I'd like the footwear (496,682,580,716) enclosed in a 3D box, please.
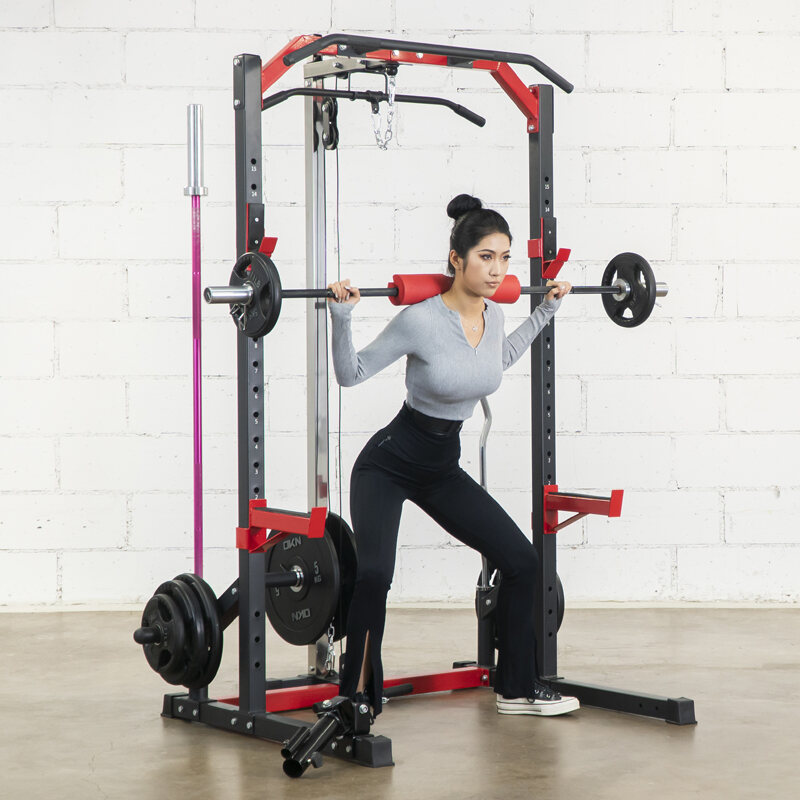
[{"bbox_3d":[0.398,0.874,3.525,0.231,0.114,0.096,-1,-4,-2],"label":"footwear"}]

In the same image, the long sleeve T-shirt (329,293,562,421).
[{"bbox_3d":[0.144,-0.111,3.429,0.732,0.388,0.235,-4,13,-31],"label":"long sleeve T-shirt"}]

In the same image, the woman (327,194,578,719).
[{"bbox_3d":[0.118,0.131,3.360,0.765,1.677,0.492,-7,26,-16],"label":"woman"}]

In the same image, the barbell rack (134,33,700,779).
[{"bbox_3d":[0.187,-0.197,4.242,1.838,2.854,1.669,0,-1,-31],"label":"barbell rack"}]

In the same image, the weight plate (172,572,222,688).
[{"bbox_3d":[-0.525,0.630,3.319,0.072,0.256,0.232,-7,14,-21],"label":"weight plate"}]
